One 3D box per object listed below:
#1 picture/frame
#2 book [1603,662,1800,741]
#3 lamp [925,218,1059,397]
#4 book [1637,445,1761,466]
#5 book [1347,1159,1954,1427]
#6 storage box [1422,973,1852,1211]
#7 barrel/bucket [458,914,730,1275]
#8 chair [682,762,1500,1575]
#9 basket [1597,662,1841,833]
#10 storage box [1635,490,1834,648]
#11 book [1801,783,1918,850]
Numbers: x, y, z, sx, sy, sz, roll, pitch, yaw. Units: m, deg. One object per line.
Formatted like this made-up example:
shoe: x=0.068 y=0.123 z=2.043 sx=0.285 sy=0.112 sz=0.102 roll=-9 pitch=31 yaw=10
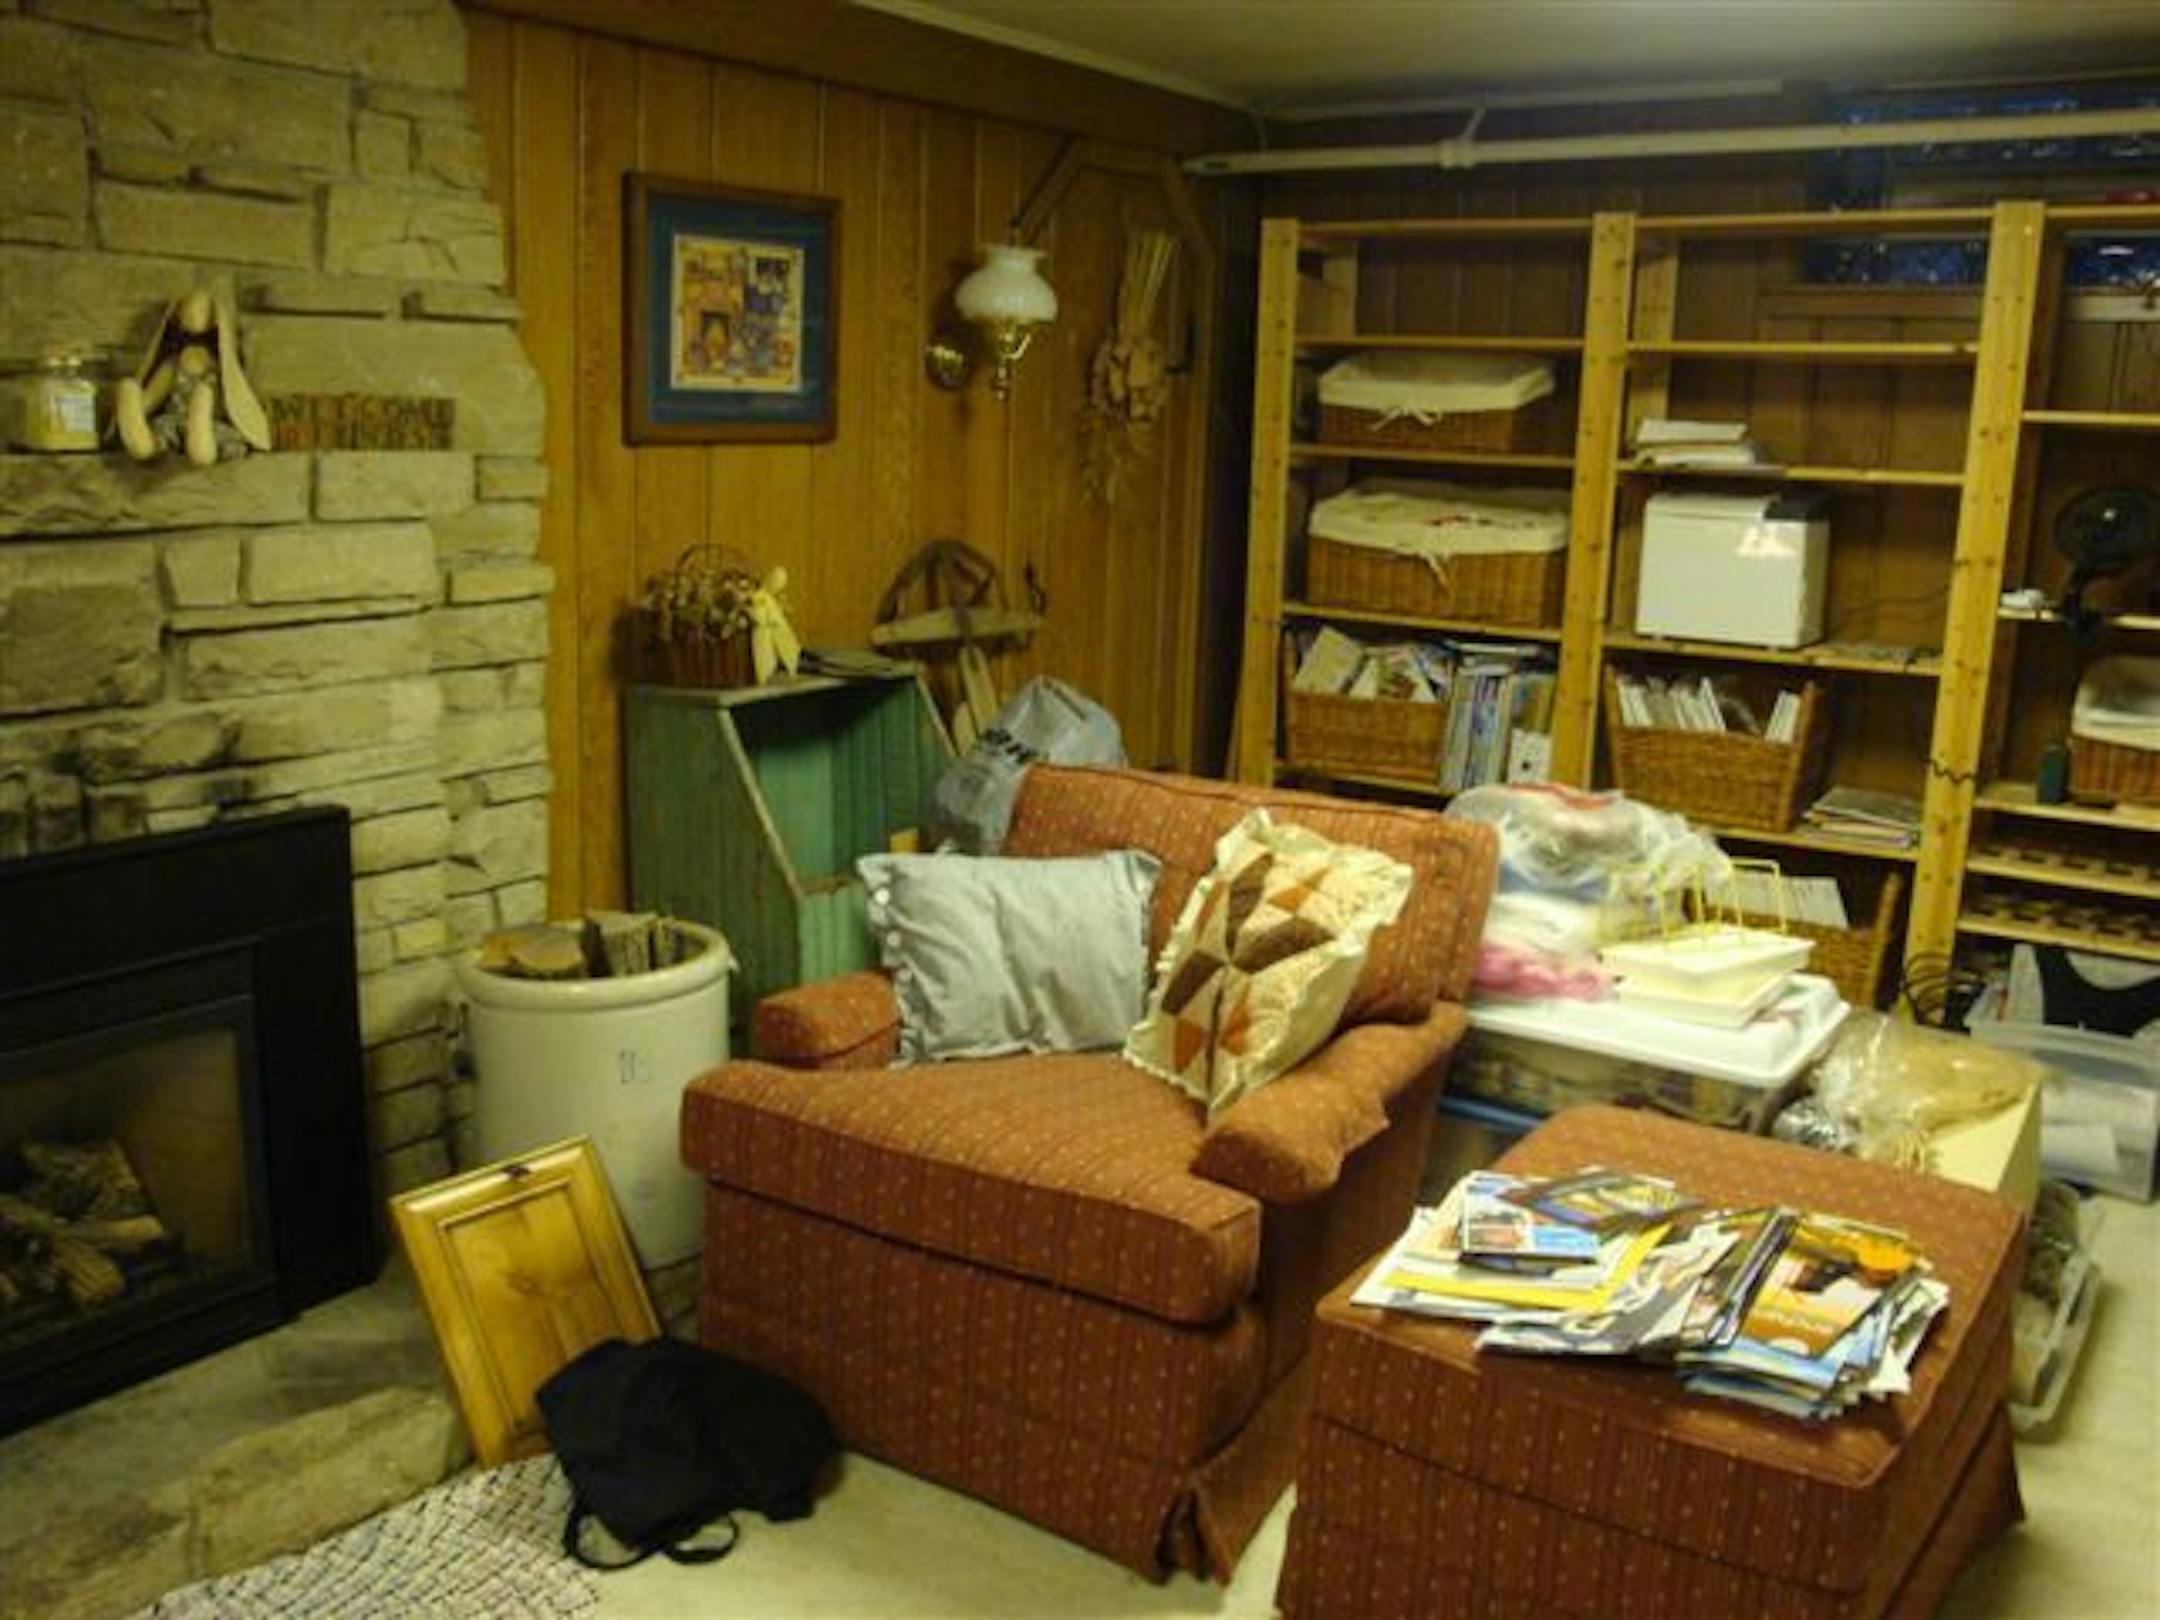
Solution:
picture/frame: x=-0.860 y=-1.203 z=3.706 sx=0.059 sy=0.661 sz=0.725 roll=6 pitch=10 yaw=37
book: x=1.778 y=-0.306 z=4.476 sx=0.405 sy=0.171 sz=0.269 roll=5 pitch=8 yaw=30
lamp: x=-0.197 y=-1.364 z=4.330 sx=0.313 sy=0.433 sz=0.435 roll=8 pitch=14 yaw=24
book: x=1.698 y=-0.971 z=4.309 sx=0.295 sy=0.060 sz=0.101 roll=8 pitch=14 yaw=23
book: x=0.791 y=0.648 z=2.128 sx=0.411 sy=0.096 sz=0.395 roll=3 pitch=12 yaw=32
storage box: x=1.104 y=0.470 z=3.106 sx=0.581 sy=0.410 sz=0.411 roll=7 pitch=10 yaw=37
barrel/bucket: x=-0.946 y=0.561 z=3.282 sx=0.608 sy=0.647 sz=0.539 roll=-2 pitch=8 yaw=-13
chair: x=0.071 y=0.402 z=2.982 sx=1.290 sy=1.118 sz=1.214 roll=9 pitch=14 yaw=34
basket: x=1.847 y=-0.202 z=4.632 sx=0.653 sy=0.485 sz=0.467 roll=5 pitch=7 yaw=32
storage box: x=1.805 y=-0.661 z=4.326 sx=0.417 sy=0.369 sz=0.218 roll=7 pitch=10 yaw=30
book: x=2.199 y=0.020 z=4.418 sx=0.300 sy=0.105 sz=0.402 roll=9 pitch=14 yaw=27
